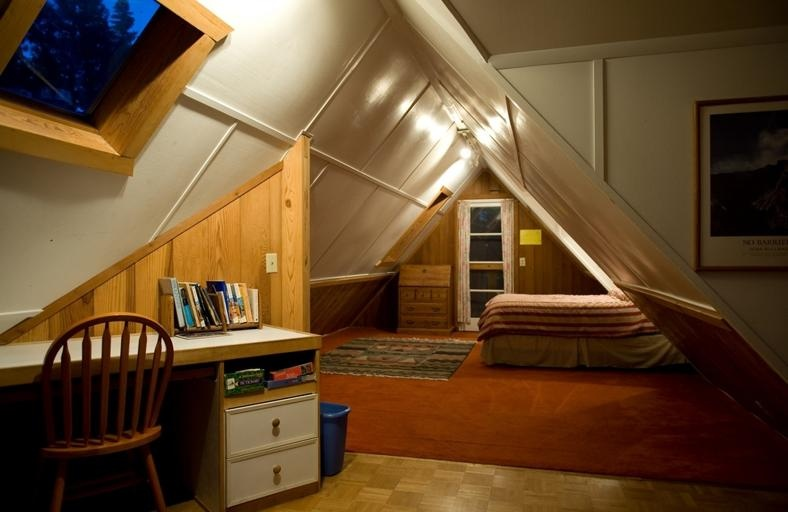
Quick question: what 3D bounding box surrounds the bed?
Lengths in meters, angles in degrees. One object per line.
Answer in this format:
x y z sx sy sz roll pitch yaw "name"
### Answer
1.783 0.801 5.725 1.478 0.496 0.966 0 3 3 "bed"
